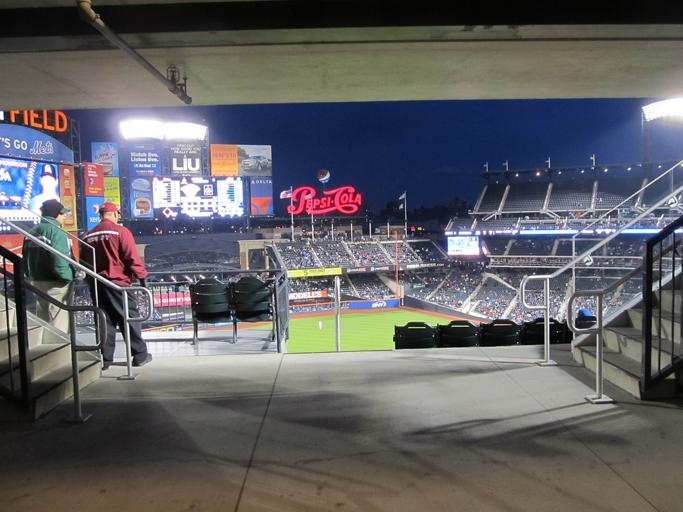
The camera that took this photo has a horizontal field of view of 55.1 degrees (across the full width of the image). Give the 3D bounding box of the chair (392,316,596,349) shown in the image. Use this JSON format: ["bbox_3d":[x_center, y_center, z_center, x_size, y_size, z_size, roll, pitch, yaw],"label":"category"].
[{"bbox_3d":[2.383,1.238,10.729,3.010,0.454,1.090,-1,-3,-6],"label":"chair"}]

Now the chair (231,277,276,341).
[{"bbox_3d":[-1.447,0.885,10.667,0.945,0.876,0.857,2,-9,-30],"label":"chair"}]

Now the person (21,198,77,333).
[{"bbox_3d":[-3.959,0.121,8.842,0.649,1.844,1.137,0,-3,-25],"label":"person"}]

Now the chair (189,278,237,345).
[{"bbox_3d":[-2.057,0.886,10.713,0.882,0.938,0.864,0,-6,-15],"label":"chair"}]

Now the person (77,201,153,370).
[{"bbox_3d":[-3.119,0.374,8.943,0.872,2.317,0.842,-1,-3,-6],"label":"person"}]
